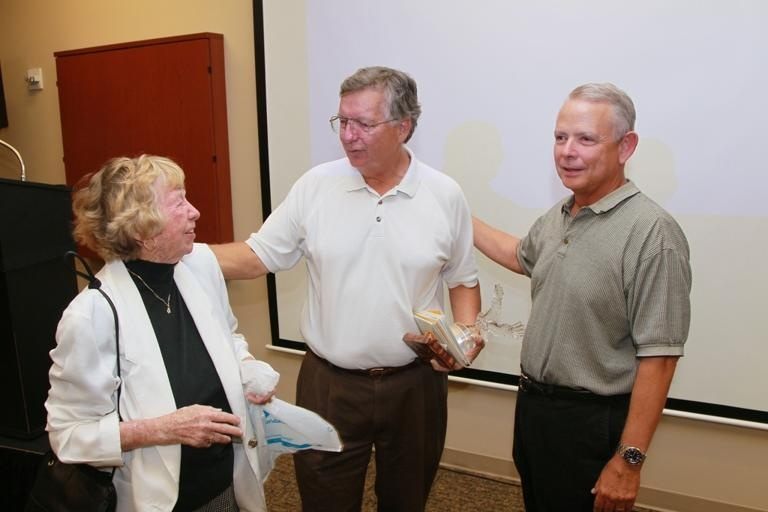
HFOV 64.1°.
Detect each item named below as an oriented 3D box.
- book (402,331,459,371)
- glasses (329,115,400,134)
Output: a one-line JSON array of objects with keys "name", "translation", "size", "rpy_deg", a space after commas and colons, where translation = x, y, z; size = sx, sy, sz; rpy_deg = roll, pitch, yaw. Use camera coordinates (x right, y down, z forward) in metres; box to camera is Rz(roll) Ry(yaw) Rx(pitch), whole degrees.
[{"name": "book", "translation": [0.202, 0.418, 2.700], "size": [0.178, 0.075, 0.192], "rpy_deg": [28, -19, 19]}, {"name": "glasses", "translation": [-0.074, -0.591, 2.764], "size": [0.167, 0.057, 0.178], "rpy_deg": [9, 9, 37]}]
